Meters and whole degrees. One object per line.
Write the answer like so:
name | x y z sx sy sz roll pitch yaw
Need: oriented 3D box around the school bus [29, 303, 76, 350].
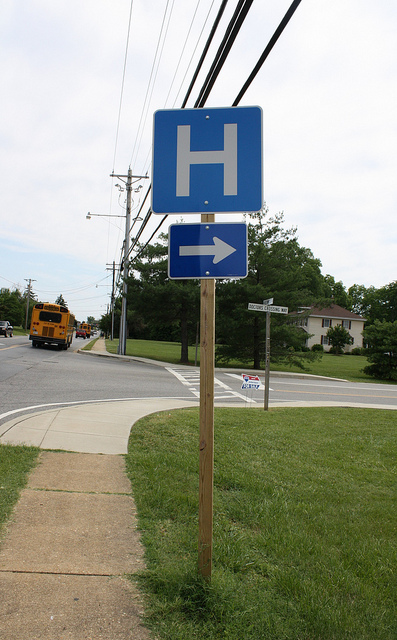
school bus | -9.564 0.546 30.859 2.216 3.002 3.451 2 -1 -1

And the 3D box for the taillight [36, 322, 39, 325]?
taillight | -10.224 0.261 29.461 0.129 0.152 0.342 -5 3 -6

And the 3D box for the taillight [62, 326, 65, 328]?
taillight | -8.797 0.482 30.167 0.117 0.137 0.030 8 2 -20

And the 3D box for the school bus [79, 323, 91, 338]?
school bus | -23.534 2.110 95.893 2.156 2.334 3.505 0 -5 -6

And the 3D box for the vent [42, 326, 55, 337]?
vent | -9.689 0.748 29.767 0.578 0.577 0.067 6 -1 -25

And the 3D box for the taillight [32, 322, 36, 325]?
taillight | -10.404 0.246 29.405 0.116 0.137 0.112 0 7 2
